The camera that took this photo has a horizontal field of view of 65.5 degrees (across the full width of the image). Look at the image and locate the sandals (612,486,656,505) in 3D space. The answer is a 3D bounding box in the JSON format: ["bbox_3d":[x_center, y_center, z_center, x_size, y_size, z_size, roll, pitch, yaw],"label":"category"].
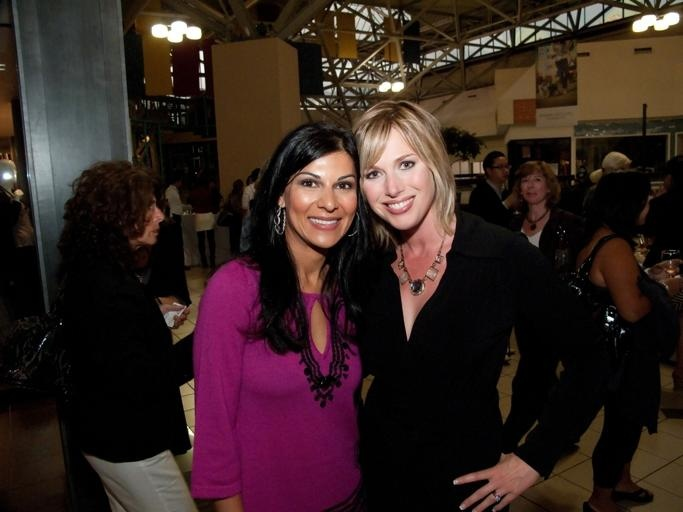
[{"bbox_3d":[1.813,1.482,3.316,0.262,0.112,0.102,-3,4,5],"label":"sandals"}]

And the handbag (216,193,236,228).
[{"bbox_3d":[-2.079,-0.692,9.308,0.166,0.402,0.534,15,-39,-15],"label":"handbag"}]
